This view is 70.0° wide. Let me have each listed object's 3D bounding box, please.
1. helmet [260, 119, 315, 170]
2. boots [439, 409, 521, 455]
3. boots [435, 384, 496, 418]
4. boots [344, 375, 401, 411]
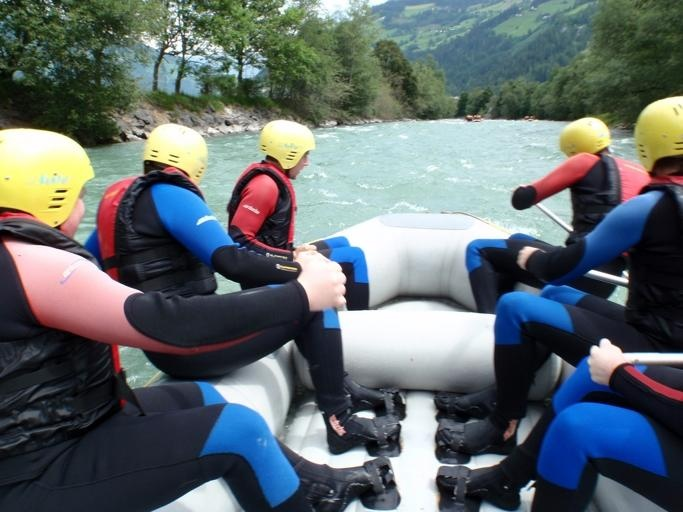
[{"bbox_3d":[-0.405,-0.792,3.446,0.507,0.284,0.303,1,24,-16],"label":"helmet"},{"bbox_3d":[0.709,0.935,2.613,0.541,0.174,0.161,1,41,13],"label":"boots"},{"bbox_3d":[0.706,0.836,2.798,0.420,0.141,0.134,-13,43,23],"label":"boots"},{"bbox_3d":[0.175,0.812,2.909,0.377,0.109,0.105,-4,3,3],"label":"boots"}]
